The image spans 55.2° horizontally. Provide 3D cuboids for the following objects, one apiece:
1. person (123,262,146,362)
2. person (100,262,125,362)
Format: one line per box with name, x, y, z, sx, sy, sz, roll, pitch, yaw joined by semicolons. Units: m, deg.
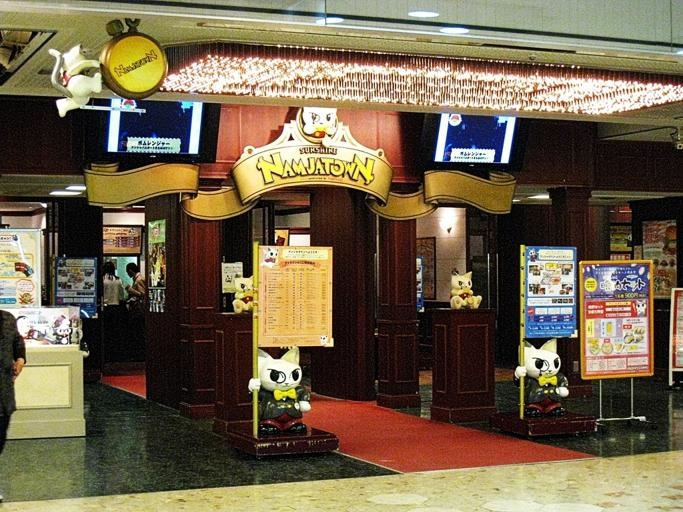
person;-4.265;1.276;13.561;0.355;1.860;0.492;1;-4;-19
person;-4.696;1.166;13.480;0.387;2.051;0.386;1;-4;-19
